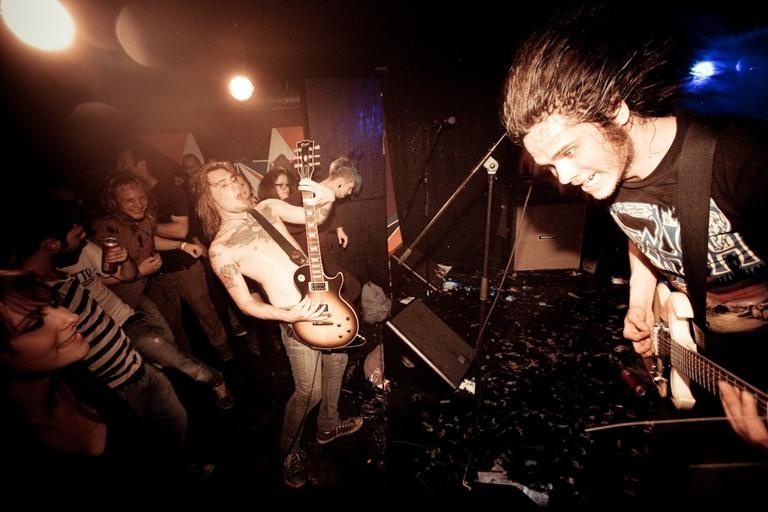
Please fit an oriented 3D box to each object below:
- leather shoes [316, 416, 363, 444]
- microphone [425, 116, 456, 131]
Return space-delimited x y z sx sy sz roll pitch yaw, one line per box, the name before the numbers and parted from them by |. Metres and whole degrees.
leather shoes | -0.369 1.464 4.529 0.426 0.175 0.157 -19 22 -22
microphone | 0.622 -1.509 5.853 0.288 0.116 0.030 -10 57 -22
